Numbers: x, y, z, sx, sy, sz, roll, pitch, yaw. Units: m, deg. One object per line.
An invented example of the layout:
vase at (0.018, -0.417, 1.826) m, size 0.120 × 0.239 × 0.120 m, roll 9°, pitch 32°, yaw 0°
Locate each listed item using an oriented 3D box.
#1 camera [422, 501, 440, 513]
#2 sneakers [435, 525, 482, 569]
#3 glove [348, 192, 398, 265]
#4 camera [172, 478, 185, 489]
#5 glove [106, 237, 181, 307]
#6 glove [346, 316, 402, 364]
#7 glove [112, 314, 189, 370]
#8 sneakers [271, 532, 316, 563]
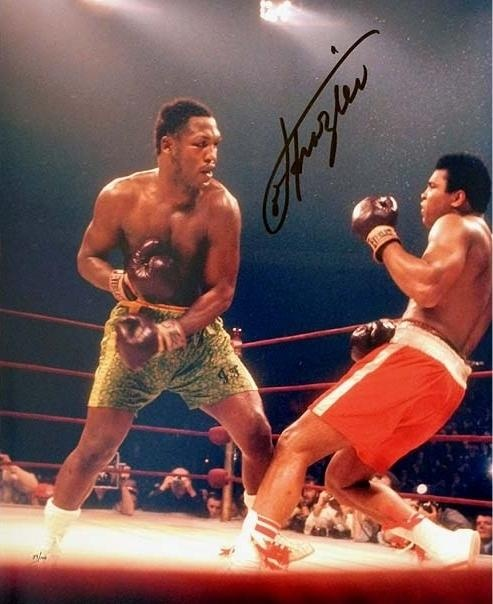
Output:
camera at (0.691, 0.762, 2.298) m, size 0.048 × 0.012 × 0.047 m, roll 2°, pitch 2°, yaw 17°
sneakers at (0.630, 0.737, 1.813) m, size 0.132 × 0.134 × 0.127 m, roll -6°, pitch -3°, yaw 5°
glove at (0.401, -0.224, 1.923) m, size 0.165 × 0.191 × 0.091 m, roll 7°, pitch -20°, yaw 16°
camera at (-0.233, 0.654, 2.204) m, size 0.034 × 0.042 × 0.012 m, roll 4°, pitch -35°, yaw -18°
glove at (-0.368, -0.098, 2.197) m, size 0.351 × 0.160 × 0.248 m, roll 0°, pitch 24°, yaw 25°
glove at (0.406, 0.111, 1.988) m, size 0.165 × 0.131 × 0.124 m, roll 4°, pitch 20°, yaw 21°
glove at (-0.377, 0.135, 2.135) m, size 0.317 × 0.129 × 0.186 m, roll -1°, pitch 2°, yaw -8°
sneakers at (0.140, 0.774, 1.926) m, size 0.195 × 0.082 × 0.117 m, roll 14°, pitch -21°, yaw -28°
